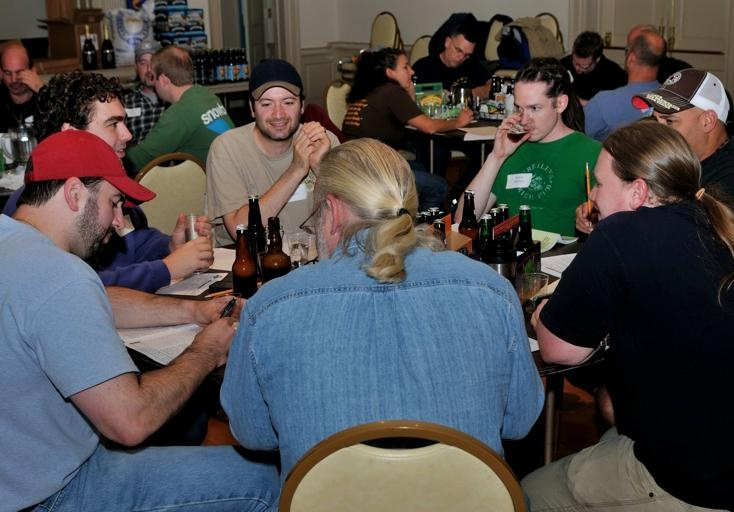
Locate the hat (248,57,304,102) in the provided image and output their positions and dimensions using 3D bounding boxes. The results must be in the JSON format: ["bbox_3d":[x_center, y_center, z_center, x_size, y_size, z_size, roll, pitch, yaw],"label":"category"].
[{"bbox_3d":[-0.442,-0.861,2.893,0.184,0.145,0.252,-4,17,-10],"label":"hat"}]

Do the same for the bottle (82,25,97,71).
[{"bbox_3d":[-2.830,-2.134,6.106,0.130,0.429,0.170,0,19,3],"label":"bottle"}]

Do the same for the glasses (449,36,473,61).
[{"bbox_3d":[0.951,-2.090,6.010,0.180,0.114,0.229,8,24,-22],"label":"glasses"}]

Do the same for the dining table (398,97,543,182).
[{"bbox_3d":[0.696,-0.959,5.148,0.678,0.643,0.668,-17,34,-25],"label":"dining table"}]

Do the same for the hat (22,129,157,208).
[{"bbox_3d":[-0.829,-0.272,1.832,0.289,0.149,0.181,4,8,-26],"label":"hat"}]

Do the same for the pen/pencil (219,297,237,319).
[{"bbox_3d":[-0.462,0.179,1.994,0.018,0.021,0.077,-33,15,27],"label":"pen/pencil"}]

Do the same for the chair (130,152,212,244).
[{"bbox_3d":[-0.951,-0.272,2.943,0.347,0.597,0.389,-9,34,-29],"label":"chair"}]

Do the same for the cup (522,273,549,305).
[{"bbox_3d":[0.599,0.116,2.156,0.112,0.114,0.091,-1,17,-3],"label":"cup"}]

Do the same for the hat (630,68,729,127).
[{"bbox_3d":[1.443,-0.704,2.703,0.359,0.198,0.236,6,13,3],"label":"hat"}]
